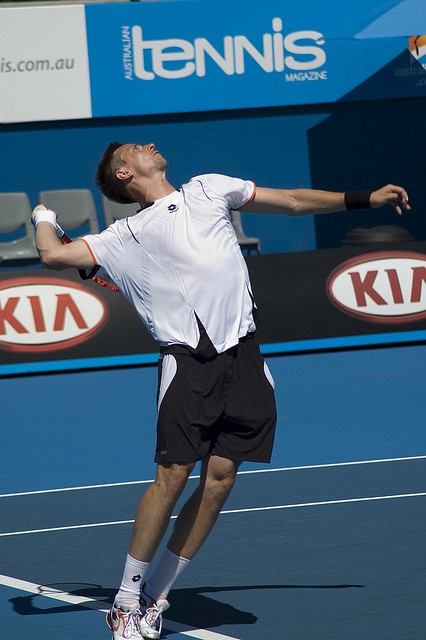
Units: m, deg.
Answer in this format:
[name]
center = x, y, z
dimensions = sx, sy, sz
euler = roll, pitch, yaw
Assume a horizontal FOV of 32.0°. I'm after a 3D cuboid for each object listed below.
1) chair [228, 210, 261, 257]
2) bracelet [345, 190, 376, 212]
[chair]
center = 0.232, -0.753, 6.484
dimensions = 0.324, 0.427, 0.265
euler = 2, 11, -13
[bracelet]
center = 0.513, -0.404, 2.575
dimensions = 0.097, 0.081, 0.068
euler = 4, -9, 10
